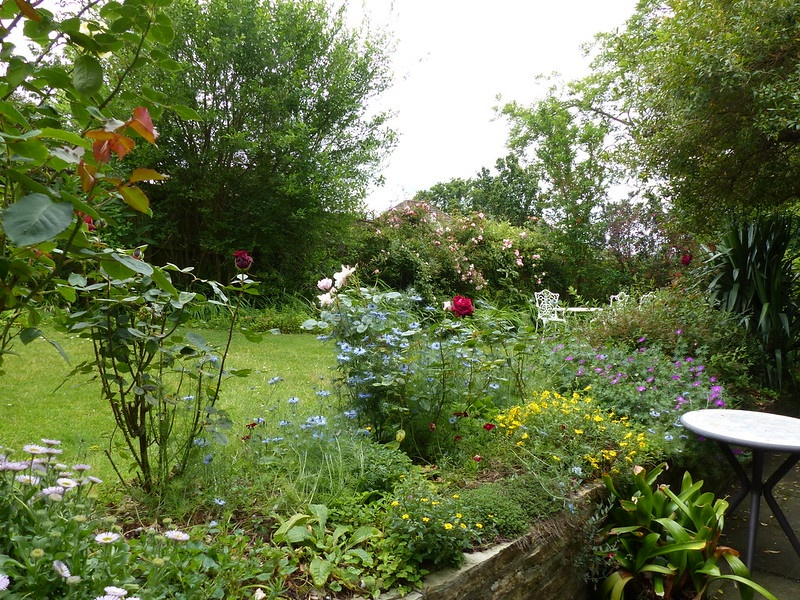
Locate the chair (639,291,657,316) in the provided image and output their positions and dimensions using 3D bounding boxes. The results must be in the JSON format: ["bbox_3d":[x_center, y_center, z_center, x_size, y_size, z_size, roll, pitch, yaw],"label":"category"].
[{"bbox_3d":[2.576,0.014,6.459,0.163,0.223,0.614,0,-4,23],"label":"chair"}]

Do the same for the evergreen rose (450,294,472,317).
[{"bbox_3d":[0.416,0.034,4.083,0.134,0.131,0.126,-2,-39,-6],"label":"evergreen rose"}]

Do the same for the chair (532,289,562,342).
[{"bbox_3d":[2.376,0.148,9.572,0.441,0.661,0.498,4,13,31],"label":"chair"}]

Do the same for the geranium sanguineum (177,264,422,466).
[{"bbox_3d":[-0.227,0.381,4.165,0.812,1.219,0.653,1,-4,12],"label":"geranium sanguineum"}]
